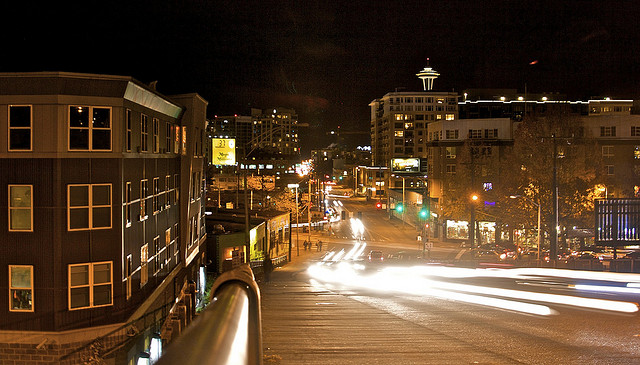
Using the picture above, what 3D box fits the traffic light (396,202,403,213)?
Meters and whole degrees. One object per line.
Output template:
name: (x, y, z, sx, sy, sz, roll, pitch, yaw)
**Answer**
traffic light: (12.618, 3.928, 99.773, 1.172, 2.195, 1.176, 4, 36, 6)
